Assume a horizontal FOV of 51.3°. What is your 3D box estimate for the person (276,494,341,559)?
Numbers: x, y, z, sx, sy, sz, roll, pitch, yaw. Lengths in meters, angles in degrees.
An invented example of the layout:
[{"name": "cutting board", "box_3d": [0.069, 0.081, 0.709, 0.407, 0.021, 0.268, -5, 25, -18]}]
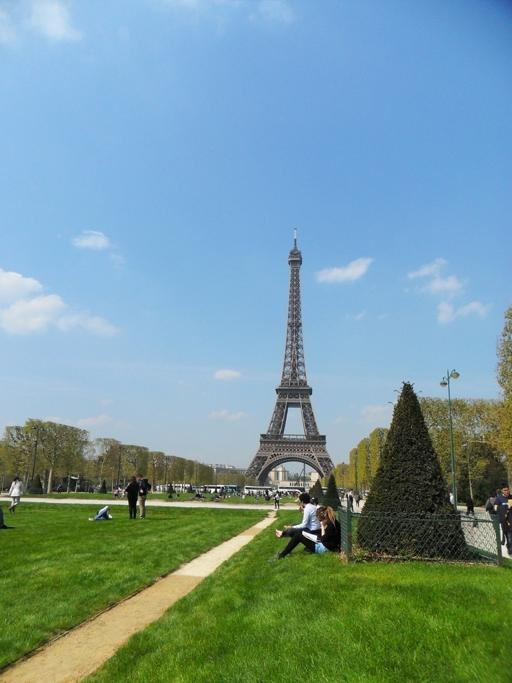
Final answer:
[{"name": "person", "box_3d": [0.951, 3.896, 11.130, 1.553, 1.313, 0.782, -7, -11, 29]}]
